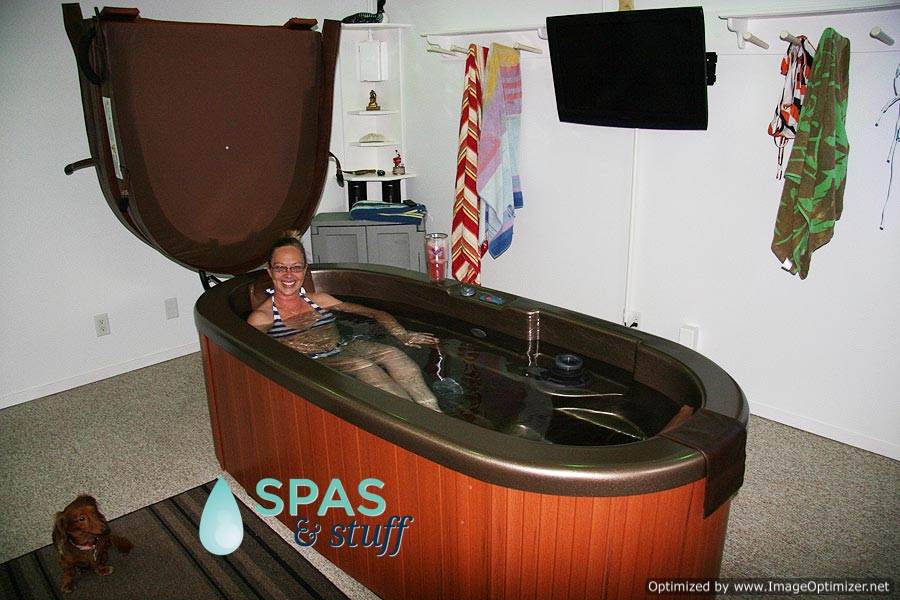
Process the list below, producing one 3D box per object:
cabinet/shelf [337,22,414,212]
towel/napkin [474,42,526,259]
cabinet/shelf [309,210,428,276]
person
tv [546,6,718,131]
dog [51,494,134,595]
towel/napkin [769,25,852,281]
[{"bbox_3d":[-0.616,-1.421,4.854,0.608,1.351,0.483,-6,19,-14],"label":"cabinet/shelf"},{"bbox_3d":[0.341,-0.987,4.189,0.355,1.375,0.255,-6,19,-14],"label":"towel/napkin"},{"bbox_3d":[-0.609,-0.245,4.733,0.862,0.785,0.460,4,17,1],"label":"cabinet/shelf"},{"bbox_3d":[-0.474,0.159,3.064,1.125,0.488,0.599,29,35,30],"label":"person"},{"bbox_3d":[0.994,-1.232,3.287,0.904,0.638,0.142,10,45,42],"label":"tv"},{"bbox_3d":[-1.500,1.044,2.602,0.237,0.289,0.262,28,40,17],"label":"dog"},{"bbox_3d":[1.816,-0.693,3.055,0.281,1.185,0.149,4,19,15],"label":"towel/napkin"}]
